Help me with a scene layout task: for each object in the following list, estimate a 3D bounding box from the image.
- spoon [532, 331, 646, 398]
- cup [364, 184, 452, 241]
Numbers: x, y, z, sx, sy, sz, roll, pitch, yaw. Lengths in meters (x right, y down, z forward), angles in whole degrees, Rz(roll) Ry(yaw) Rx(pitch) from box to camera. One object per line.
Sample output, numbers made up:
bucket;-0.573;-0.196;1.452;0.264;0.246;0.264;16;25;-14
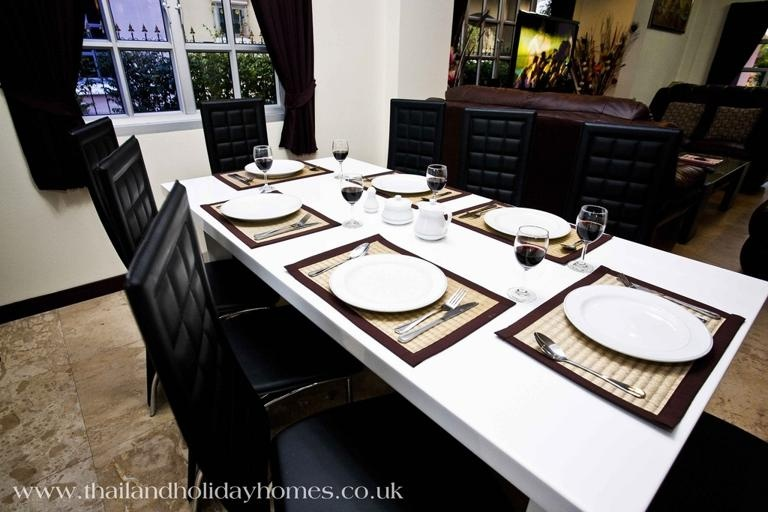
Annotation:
spoon;0.693;0.375;1.593;0.069;0.053;0.311;-29;43;-35
cup;0.094;-0.201;2.119;0.151;0.187;0.376;-20;35;-36
